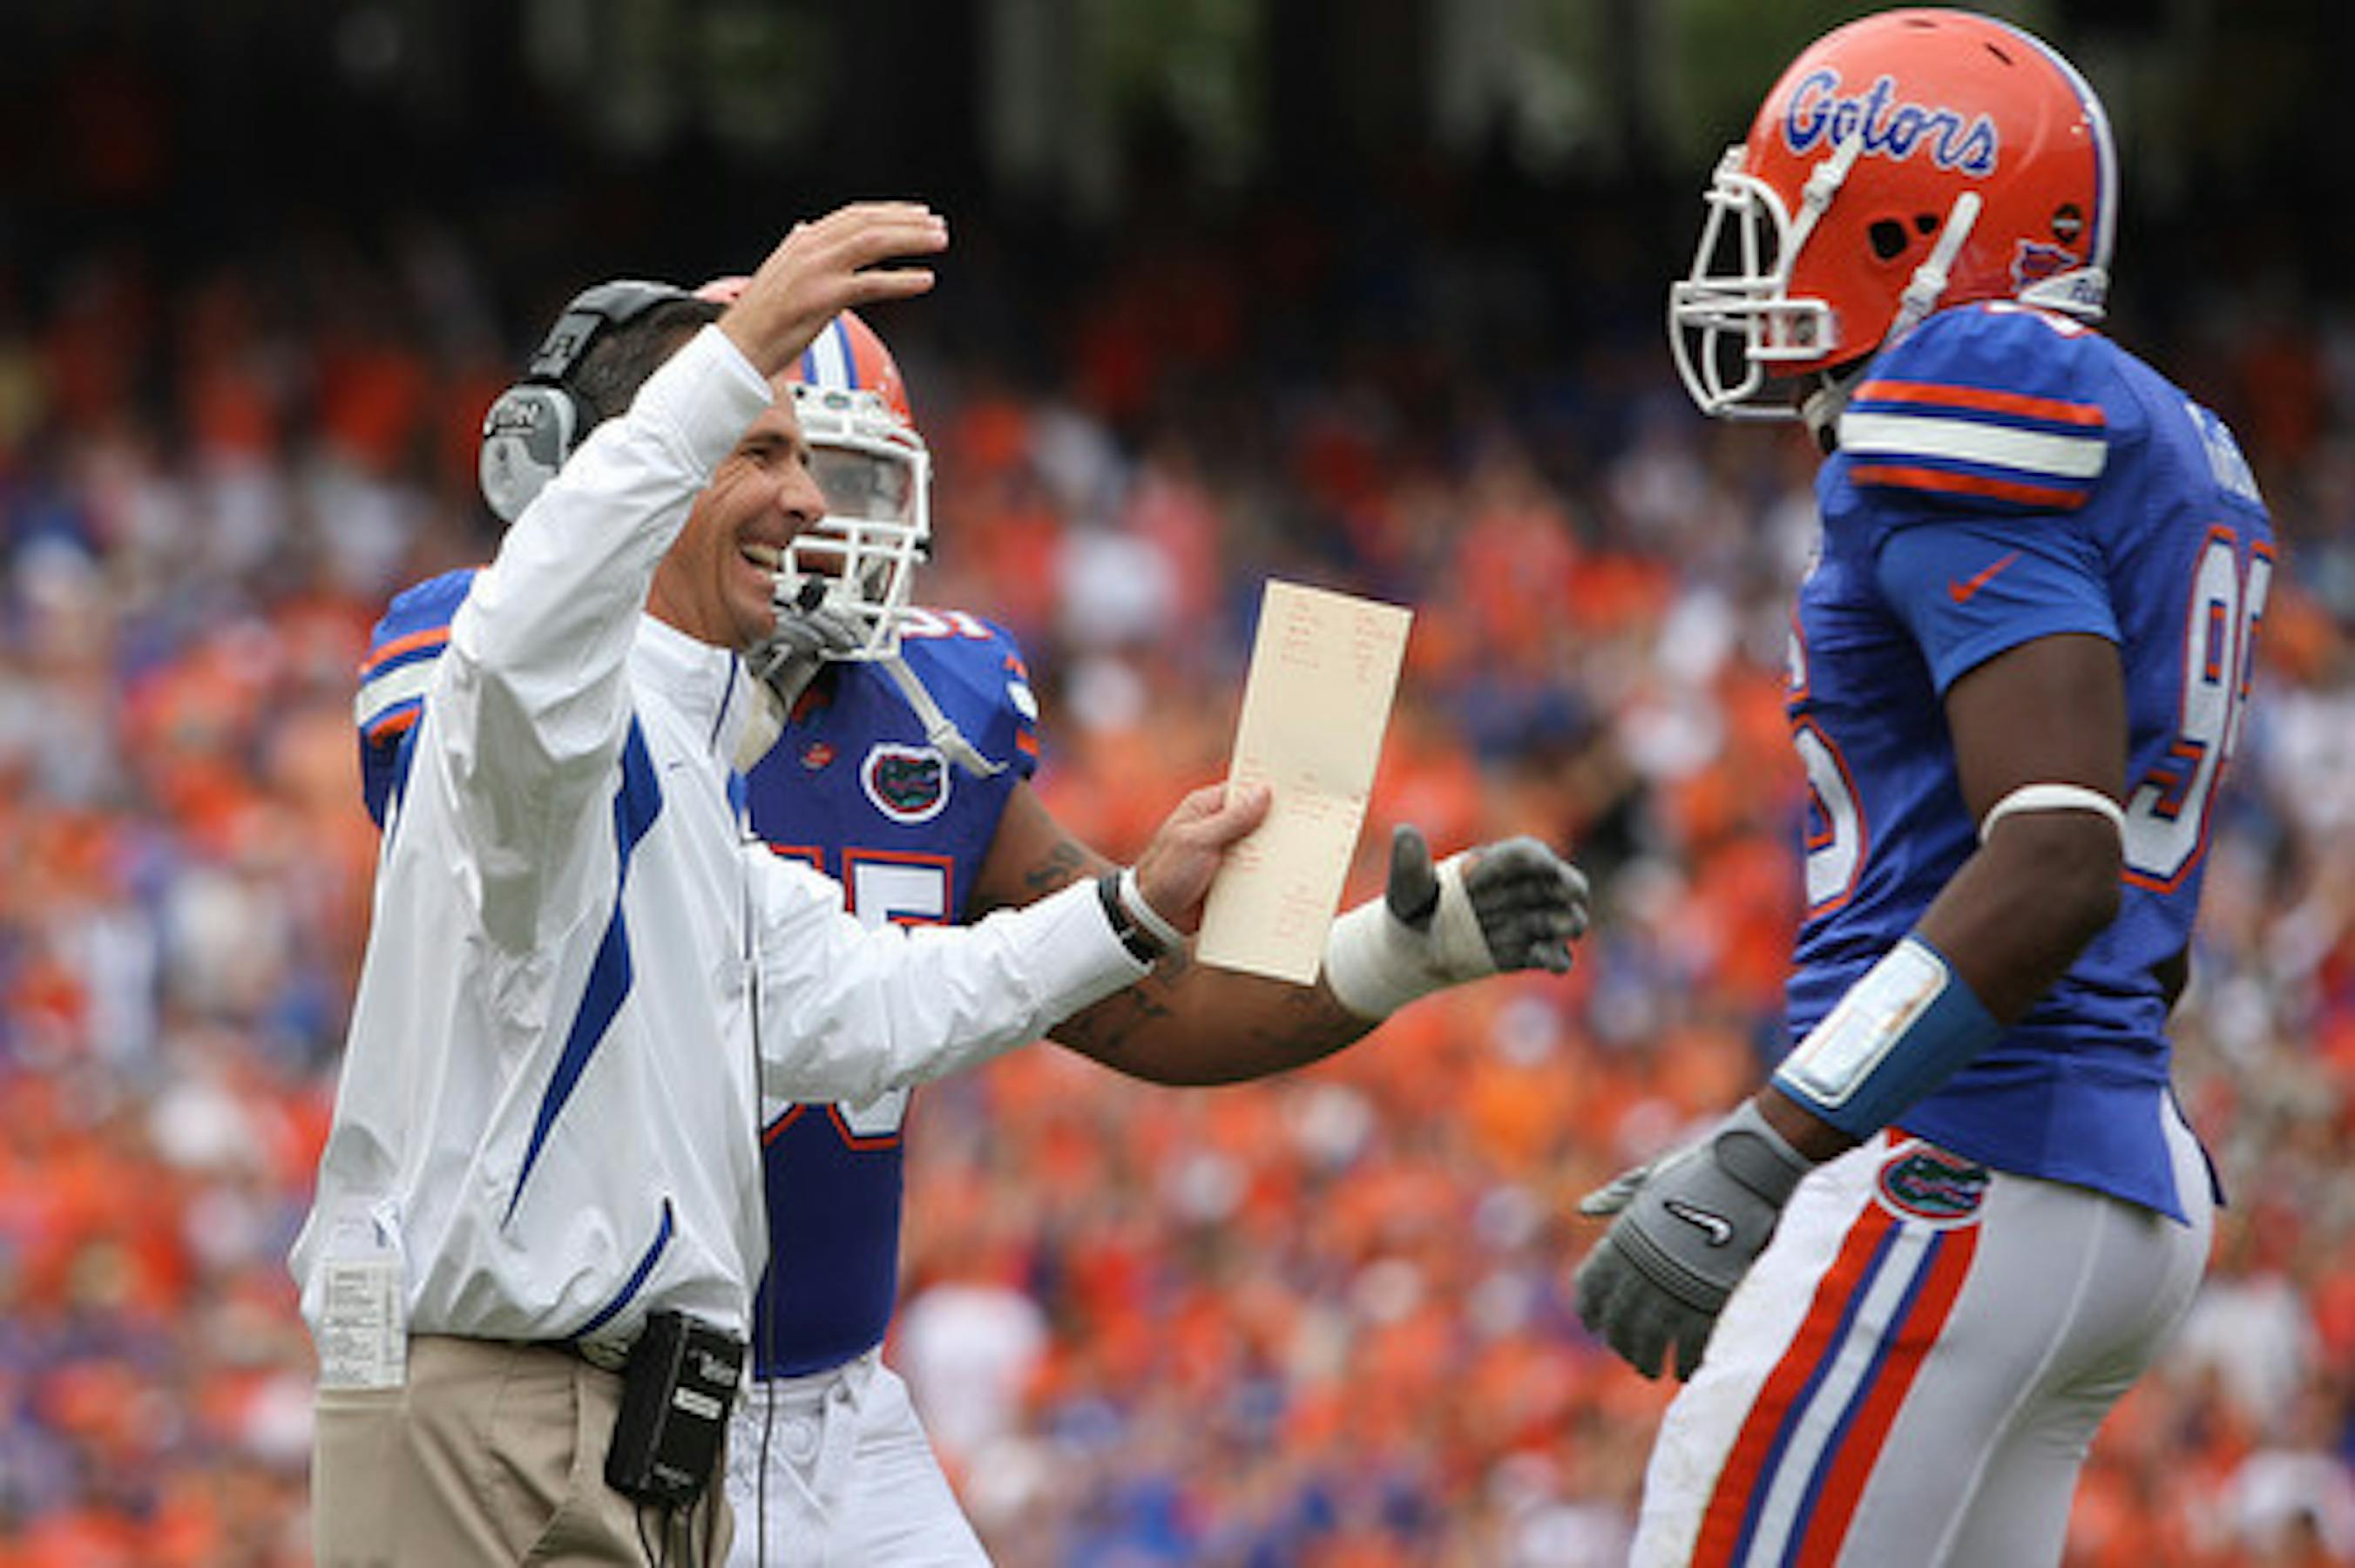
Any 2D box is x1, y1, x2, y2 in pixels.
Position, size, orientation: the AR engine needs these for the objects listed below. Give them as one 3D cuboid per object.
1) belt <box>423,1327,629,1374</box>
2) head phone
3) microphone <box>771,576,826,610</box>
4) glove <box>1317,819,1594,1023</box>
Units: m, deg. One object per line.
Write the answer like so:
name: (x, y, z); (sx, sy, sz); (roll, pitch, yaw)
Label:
belt: (-1.175, 1.030, 6.778); (0.342, 0.067, 0.026); (9, -1, -13)
head phone: (-1.143, -0.692, 7.374); (0.207, 0.500, 0.533); (9, -11, 30)
microphone: (-0.751, -0.386, 7.373); (0.095, 0.065, 0.052); (8, -1, -8)
glove: (0.513, 0.282, 7.200); (0.521, 0.383, 0.271); (8, 0, 18)
